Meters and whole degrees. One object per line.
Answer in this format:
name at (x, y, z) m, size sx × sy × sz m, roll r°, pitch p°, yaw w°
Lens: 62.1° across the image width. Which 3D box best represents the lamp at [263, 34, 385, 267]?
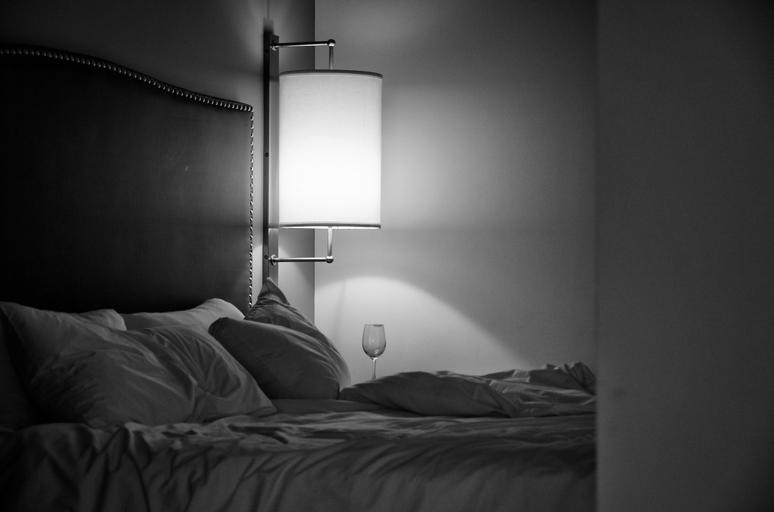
lamp at (-0.297, -0.542, 3.366) m, size 0.616 × 1.126 × 0.552 m, roll 0°, pitch 7°, yaw -6°
